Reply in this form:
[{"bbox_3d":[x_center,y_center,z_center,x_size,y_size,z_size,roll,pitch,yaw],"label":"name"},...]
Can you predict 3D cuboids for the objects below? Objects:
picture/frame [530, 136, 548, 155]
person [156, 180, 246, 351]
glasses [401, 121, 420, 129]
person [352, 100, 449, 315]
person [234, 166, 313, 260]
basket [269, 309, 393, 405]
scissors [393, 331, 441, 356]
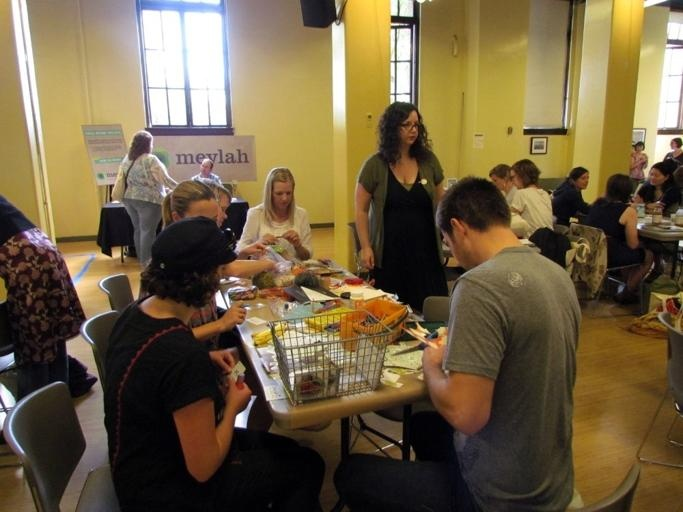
[{"bbox_3d":[3.206,-1.815,8.383,0.310,0.265,0.023,-7,16,-34],"label":"picture/frame"},{"bbox_3d":[-0.854,0.145,3.194,0.461,1.383,0.465,-2,46,-17],"label":"person"},{"bbox_3d":[0.423,-0.803,3.156,0.067,0.018,0.064,-5,0,-22],"label":"glasses"},{"bbox_3d":[0.440,-0.099,3.424,0.614,1.782,0.523,-4,28,-2],"label":"person"},{"bbox_3d":[-0.439,-0.159,3.443,0.523,0.790,0.482,-4,16,-23],"label":"person"},{"bbox_3d":[-0.049,0.408,2.085,0.371,0.285,0.504,-8,4,-12],"label":"basket"},{"bbox_3d":[0.314,0.367,2.158,0.167,0.053,0.026,-24,26,-32],"label":"scissors"}]
